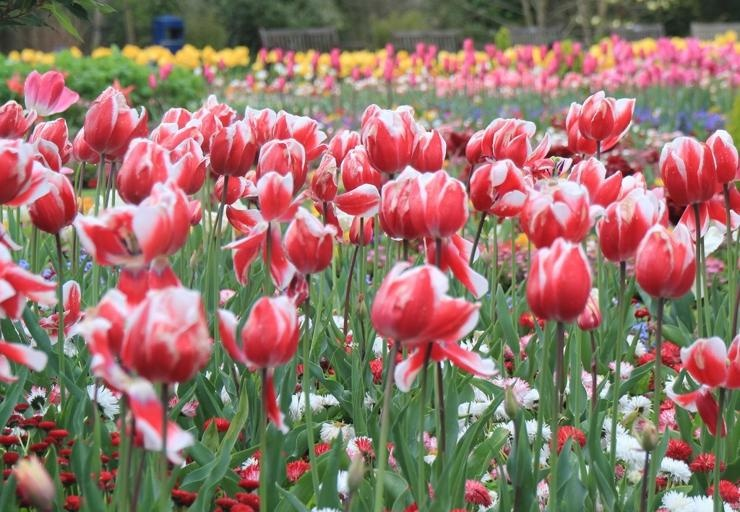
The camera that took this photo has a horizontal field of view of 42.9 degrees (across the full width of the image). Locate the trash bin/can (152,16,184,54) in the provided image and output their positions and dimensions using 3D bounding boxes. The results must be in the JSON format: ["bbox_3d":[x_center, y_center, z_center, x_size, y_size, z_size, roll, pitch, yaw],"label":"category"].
[{"bbox_3d":[-5.398,-6.058,25.334,0.755,0.950,1.978,-2,12,-13],"label":"trash bin/can"}]
